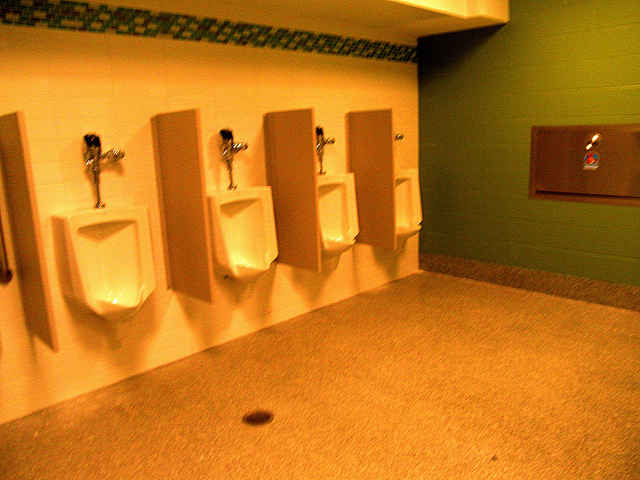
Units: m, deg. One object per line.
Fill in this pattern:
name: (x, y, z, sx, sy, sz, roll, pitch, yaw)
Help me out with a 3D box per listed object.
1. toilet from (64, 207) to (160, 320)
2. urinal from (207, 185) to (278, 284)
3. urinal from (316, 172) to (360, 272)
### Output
toilet: (-1.126, 0.151, 2.476, 0.379, 0.568, 0.458, 12, 16, 31)
urinal: (-0.500, -0.052, 2.982, 0.431, 0.625, 0.386, -8, 22, -34)
urinal: (0.158, -0.082, 3.476, 0.311, 0.817, 0.647, -2, 18, 0)
